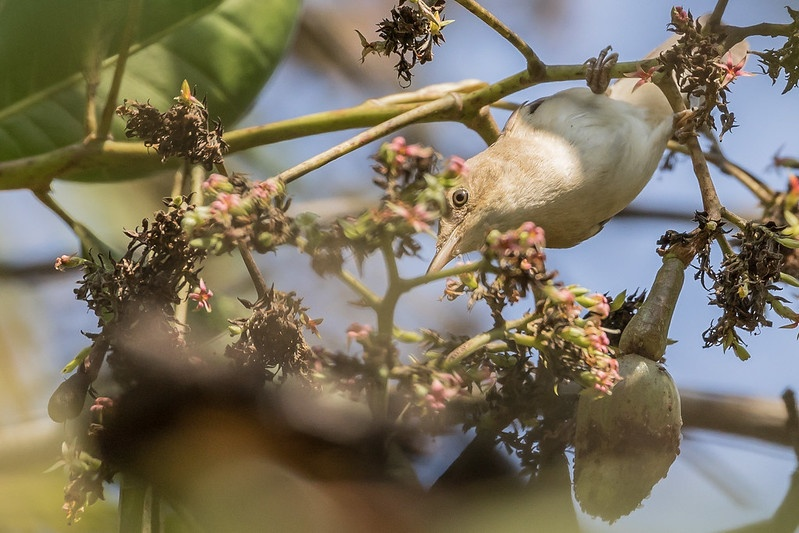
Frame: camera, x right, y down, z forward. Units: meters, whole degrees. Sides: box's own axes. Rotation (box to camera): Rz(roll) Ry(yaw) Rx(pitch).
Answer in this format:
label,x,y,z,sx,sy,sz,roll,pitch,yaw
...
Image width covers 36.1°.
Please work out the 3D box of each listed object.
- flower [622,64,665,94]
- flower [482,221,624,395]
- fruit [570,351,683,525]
label,x,y,z,sx,sy,sz,roll,pitch,yaw
flower,0.311,-0.241,1.576,0.032,0.018,0.056,12,-15,4
flower,0.184,0.050,1.471,0.210,0.176,0.087,16,-19,-1
fruit,0.272,0.205,1.474,0.131,0.212,0.042,16,-21,11
